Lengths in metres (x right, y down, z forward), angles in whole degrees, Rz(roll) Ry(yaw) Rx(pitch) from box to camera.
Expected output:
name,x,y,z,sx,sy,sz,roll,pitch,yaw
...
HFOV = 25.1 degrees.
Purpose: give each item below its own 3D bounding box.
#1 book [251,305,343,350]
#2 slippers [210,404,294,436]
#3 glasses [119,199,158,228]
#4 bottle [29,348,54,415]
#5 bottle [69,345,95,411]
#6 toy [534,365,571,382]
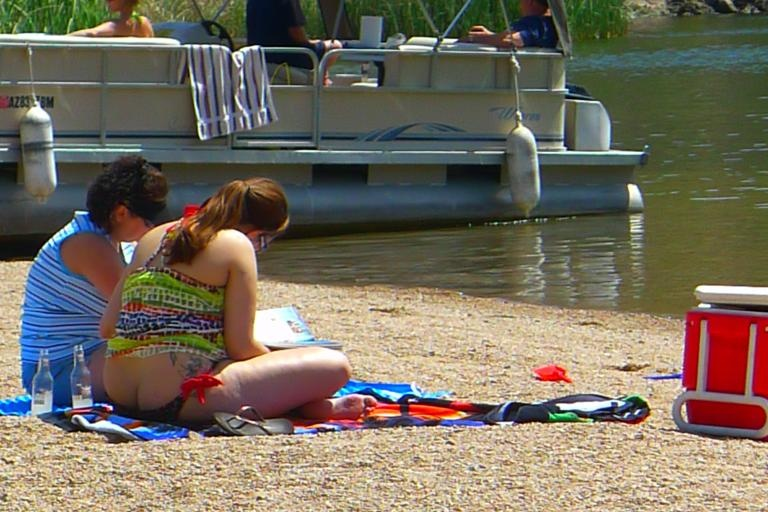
name,x,y,z,sx,sy,sz,roll,pitch,yaw
book,-0.873,0.634,14.846,0.431,0.065,0.482,-2,29,-24
slippers,-1.099,1.394,14.305,0.592,0.156,0.272,2,36,-11
glasses,-2.069,-0.347,14.483,0.192,0.141,0.270,25,3,33
bottle,-2.907,1.063,14.523,0.191,0.524,0.263,-3,9,-12
bottle,-2.568,1.014,14.503,0.163,0.514,0.149,-1,9,0
toy,1.535,1.074,15.611,0.208,0.054,0.178,10,12,37
